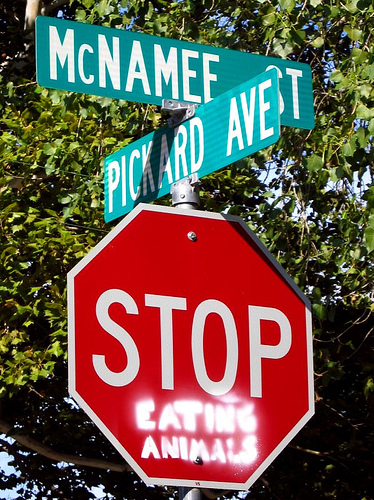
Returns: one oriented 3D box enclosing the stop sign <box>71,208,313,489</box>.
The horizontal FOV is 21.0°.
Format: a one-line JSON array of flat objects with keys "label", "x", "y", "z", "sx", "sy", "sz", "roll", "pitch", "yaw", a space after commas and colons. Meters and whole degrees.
[{"label": "stop sign", "x": 0.020, "y": 0.286, "z": 2.972, "sx": 0.836, "sy": 0.049, "sz": 0.818, "roll": 8, "pitch": 72, "yaw": -30}]
